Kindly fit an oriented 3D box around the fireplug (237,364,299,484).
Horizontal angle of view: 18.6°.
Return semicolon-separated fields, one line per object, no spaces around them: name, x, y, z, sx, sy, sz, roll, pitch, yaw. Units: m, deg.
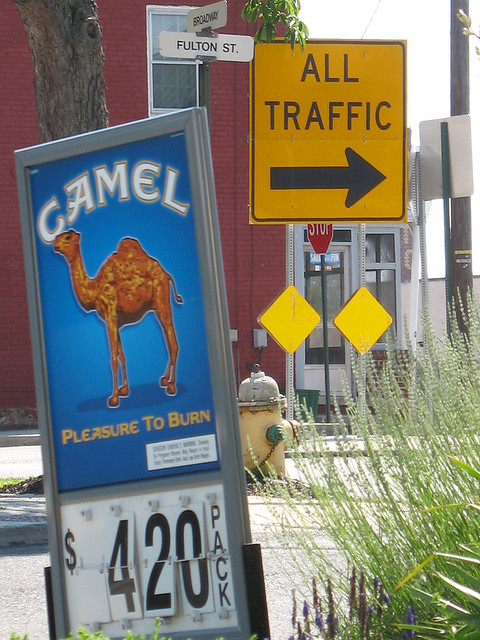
fireplug;0.214;0.794;11.224;0.432;0.908;0.888;-5;0;0
